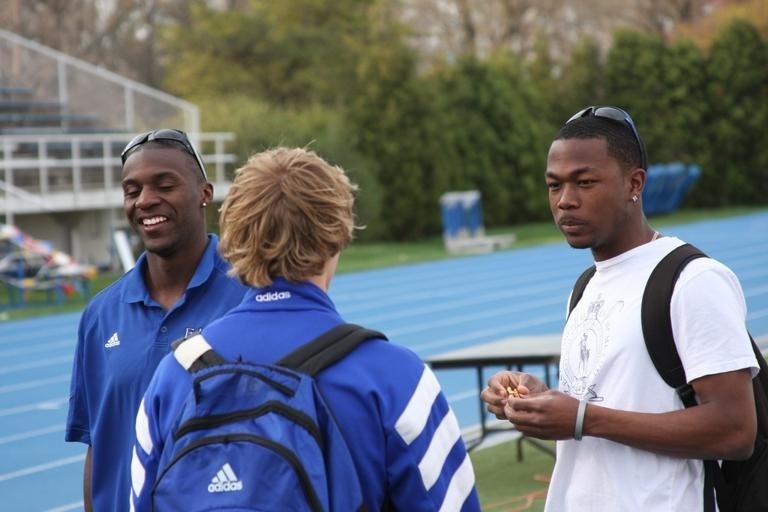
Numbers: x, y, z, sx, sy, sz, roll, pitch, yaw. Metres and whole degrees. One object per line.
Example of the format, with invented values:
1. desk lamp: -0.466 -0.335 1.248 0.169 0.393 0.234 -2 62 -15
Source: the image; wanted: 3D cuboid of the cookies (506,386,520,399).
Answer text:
1. cookies: 1.136 1.197 11.641 0.135 0.148 0.045 1 -26 3
